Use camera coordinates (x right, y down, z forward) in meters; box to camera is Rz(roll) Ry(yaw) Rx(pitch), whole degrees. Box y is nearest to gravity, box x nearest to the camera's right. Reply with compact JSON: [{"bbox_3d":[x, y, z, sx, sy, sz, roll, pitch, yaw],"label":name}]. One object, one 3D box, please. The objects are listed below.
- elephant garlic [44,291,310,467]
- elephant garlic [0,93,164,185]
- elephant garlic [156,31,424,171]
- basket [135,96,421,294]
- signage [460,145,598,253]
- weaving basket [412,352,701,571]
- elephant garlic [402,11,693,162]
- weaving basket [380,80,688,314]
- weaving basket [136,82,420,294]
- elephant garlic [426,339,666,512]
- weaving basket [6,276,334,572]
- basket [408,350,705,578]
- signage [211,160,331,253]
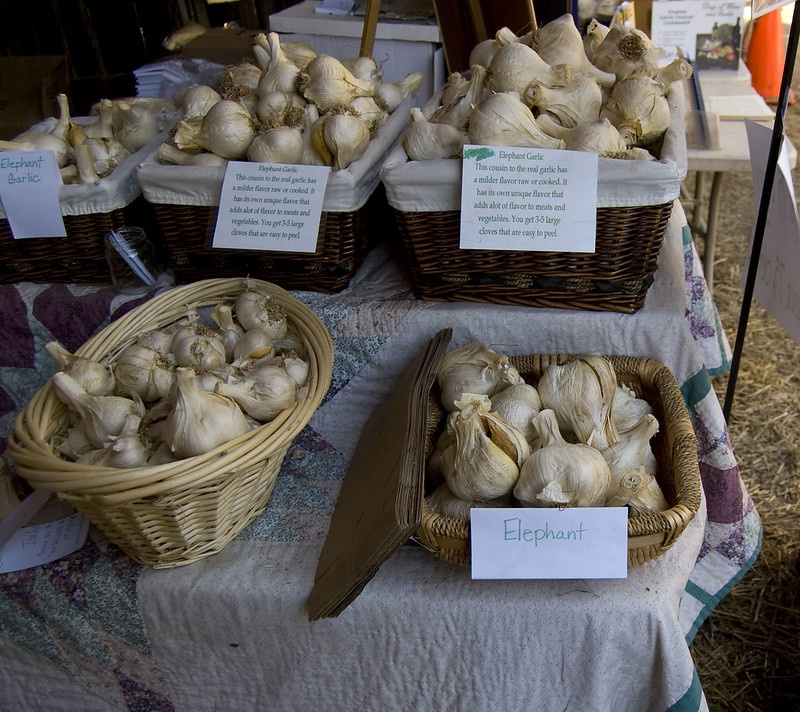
[{"bbox_3d":[-0.328,0.040,1.182,0.312,0.131,0.402,12,32,26],"label":"elephant garlic"},{"bbox_3d":[-0.656,-0.461,1.445,0.317,0.093,0.279,2,37,4],"label":"elephant garlic"},{"bbox_3d":[-0.201,-0.478,1.417,0.430,0.136,0.412,6,41,12],"label":"elephant garlic"},{"bbox_3d":[-0.280,-0.307,1.328,0.361,0.168,0.426,3,34,5],"label":"basket"},{"bbox_3d":[0.220,-0.267,1.134,0.216,0.125,0.009,3,6,4],"label":"signage"},{"bbox_3d":[0.256,0.160,1.106,0.440,0.117,0.367,-3,48,9],"label":"weaving basket"},{"bbox_3d":[0.275,-0.434,1.293,0.479,0.168,0.336,4,58,12],"label":"elephant garlic"},{"bbox_3d":[0.282,-0.346,1.310,0.402,0.191,0.479,1,38,11],"label":"weaving basket"},{"bbox_3d":[-0.256,-0.353,1.401,0.363,0.167,0.425,3,35,5],"label":"weaving basket"},{"bbox_3d":[0.238,0.110,1.107,0.300,0.115,0.308,-2,37,6],"label":"elephant garlic"},{"bbox_3d":[-0.356,0.111,1.195,0.452,0.317,0.537,18,41,26],"label":"weaving basket"},{"bbox_3d":[0.259,0.180,1.082,0.441,0.117,0.368,-3,49,8],"label":"basket"},{"bbox_3d":[-0.264,-0.256,1.200,0.228,0.163,0.010,3,7,14],"label":"signage"}]
